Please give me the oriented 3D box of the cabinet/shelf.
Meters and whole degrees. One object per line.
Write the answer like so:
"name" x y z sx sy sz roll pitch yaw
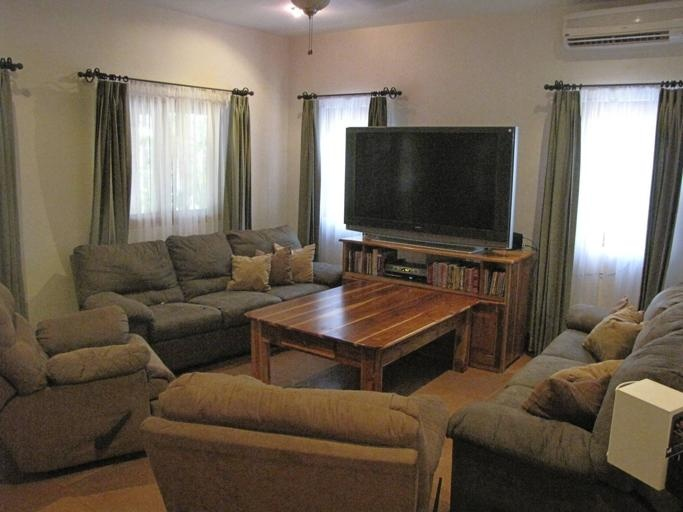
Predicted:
"cabinet/shelf" 0.892 0.385 5.451 1.651 0.993 0.653 8 20 26

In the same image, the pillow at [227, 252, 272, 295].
"pillow" -0.889 0.184 5.335 0.376 0.367 0.142 1 -32 -1

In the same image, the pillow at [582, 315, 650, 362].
"pillow" 1.827 0.543 3.738 0.133 0.307 0.304 31 4 -25

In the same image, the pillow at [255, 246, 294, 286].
"pillow" -0.657 0.114 5.461 0.363 0.395 0.154 -1 -22 -2

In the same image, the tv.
"tv" 0.902 -0.630 5.279 1.221 0.814 0.120 7 9 34

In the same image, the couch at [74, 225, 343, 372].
"couch" -1.158 0.365 5.337 0.978 1.041 2.403 7 11 41

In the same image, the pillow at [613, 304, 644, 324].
"pillow" 2.015 0.404 3.898 0.130 0.067 0.228 8 10 42
